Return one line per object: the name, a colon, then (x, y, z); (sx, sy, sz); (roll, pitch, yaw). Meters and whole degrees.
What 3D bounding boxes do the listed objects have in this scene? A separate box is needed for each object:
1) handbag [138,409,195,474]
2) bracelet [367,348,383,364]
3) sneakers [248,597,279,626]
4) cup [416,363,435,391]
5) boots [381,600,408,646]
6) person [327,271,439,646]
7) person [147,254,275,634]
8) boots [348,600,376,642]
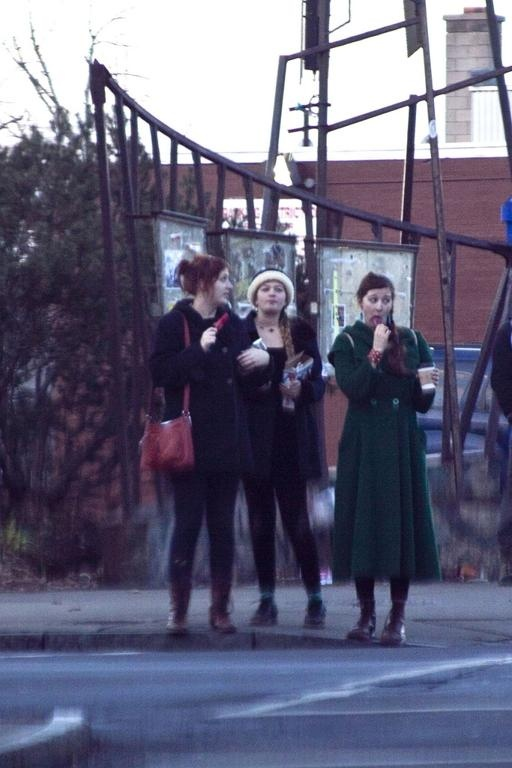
handbag: (-0.396, 0.258, 5.847); (0.226, 0.273, 0.114); (-7, -17, 16)
bracelet: (0.512, -0.120, 5.961); (0.047, 0.071, 0.032); (6, -3, 39)
sneakers: (0.036, 1.072, 6.415); (0.060, 0.140, 0.201); (-5, -17, 18)
cup: (0.733, -0.038, 5.956); (0.069, 0.098, 0.081); (-2, -5, -4)
boots: (0.583, 1.024, 5.883); (0.107, 0.178, 0.230); (0, -1, 6)
person: (0.553, 0.306, 6.010); (0.482, 1.619, 0.447); (0, -1, 3)
person: (-0.207, 0.244, 6.001); (0.522, 1.657, 0.403); (0, -1, -11)
boots: (0.481, 1.051, 5.996); (0.081, 0.199, 0.186); (-5, -20, 23)
